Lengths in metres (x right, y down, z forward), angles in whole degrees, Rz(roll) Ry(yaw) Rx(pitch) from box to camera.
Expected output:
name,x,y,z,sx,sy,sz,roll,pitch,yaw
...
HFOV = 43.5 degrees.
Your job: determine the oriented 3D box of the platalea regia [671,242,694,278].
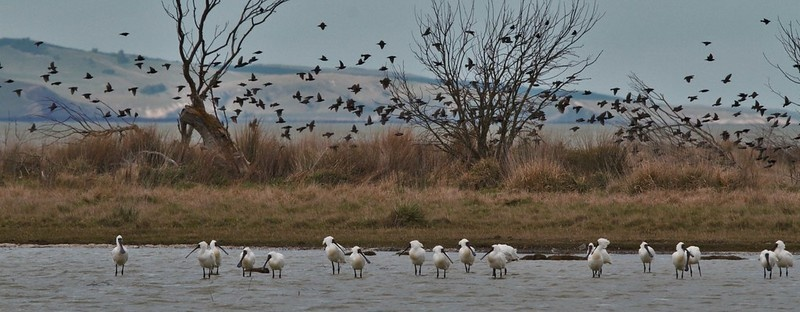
name,x,y,z,sx,sy,sz,roll,pitch,yaw
platalea regia,19.209,7.196,68.942,1.177,2.422,0.984,1,-6,-32
